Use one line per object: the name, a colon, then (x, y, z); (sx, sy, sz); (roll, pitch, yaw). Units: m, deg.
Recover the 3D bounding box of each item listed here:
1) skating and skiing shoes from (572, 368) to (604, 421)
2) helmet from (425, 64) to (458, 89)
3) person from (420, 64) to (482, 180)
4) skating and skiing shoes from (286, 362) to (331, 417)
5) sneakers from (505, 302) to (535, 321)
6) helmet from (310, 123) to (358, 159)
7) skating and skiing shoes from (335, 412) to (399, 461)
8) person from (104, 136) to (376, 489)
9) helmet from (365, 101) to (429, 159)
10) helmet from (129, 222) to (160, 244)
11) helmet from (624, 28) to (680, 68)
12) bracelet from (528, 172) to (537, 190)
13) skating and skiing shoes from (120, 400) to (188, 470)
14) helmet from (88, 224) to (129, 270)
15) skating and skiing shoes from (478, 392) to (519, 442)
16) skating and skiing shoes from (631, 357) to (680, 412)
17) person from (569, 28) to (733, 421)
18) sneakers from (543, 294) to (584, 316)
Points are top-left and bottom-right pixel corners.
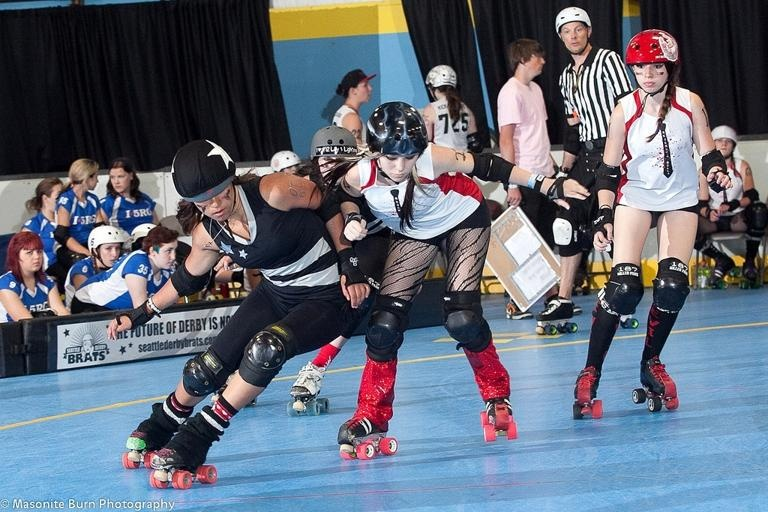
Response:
skating and skiing shoes: (1.406, 0.916, 5.042); (0.204, 0.309, 0.439); (-6, 10, 27)
helmet: (0.711, -2.224, 9.154); (0.246, 0.341, 0.341); (-2, 15, -17)
person: (0.881, -1.454, 9.385); (0.730, 1.898, 0.573); (-1, 28, 5)
skating and skiing shoes: (-0.651, 1.005, 5.491); (0.169, 0.290, 0.484); (36, -10, -9)
sneakers: (1.562, 0.637, 8.477); (0.130, 0.191, 0.373); (-3, -3, -20)
helmet: (-0.454, -0.913, 6.491); (0.392, 0.504, 0.576); (0, 5, -15)
skating and skiing shoes: (-0.104, 1.097, 4.488); (0.348, 0.235, 0.190); (2, -4, -42)
person: (-0.825, 0.287, 4.457); (1.445, 1.951, 0.683); (-4, 6, -10)
helmet: (0.080, -0.717, 4.451); (0.345, 0.411, 0.493); (-4, 21, -12)
helmet: (-2.664, -0.246, 8.201); (0.228, 0.195, 0.165); (-38, -3, 27)
helmet: (1.771, -1.397, 4.898); (0.222, 0.284, 0.304); (1, 3, 17)
bracelet: (0.928, -0.473, 4.685); (0.026, 0.079, 0.077); (17, 2, -1)
skating and skiing shoes: (-1.405, 1.071, 4.551); (0.145, 0.279, 0.488); (5, 9, 12)
helmet: (-2.941, -0.091, 8.063); (0.369, 0.532, 0.489); (3, -9, -38)
skating and skiing shoes: (0.721, 1.028, 4.673); (0.150, 0.203, 0.298); (0, 10, 0)
skating and skiing shoes: (1.865, 0.885, 5.050); (0.197, 0.318, 0.413); (1, 0, -3)
person: (1.751, -0.216, 4.986); (1.049, 2.526, 0.417); (-3, 6, -3)
sneakers: (1.911, 0.534, 7.903); (0.591, 0.266, 0.207); (-3, 8, -29)
